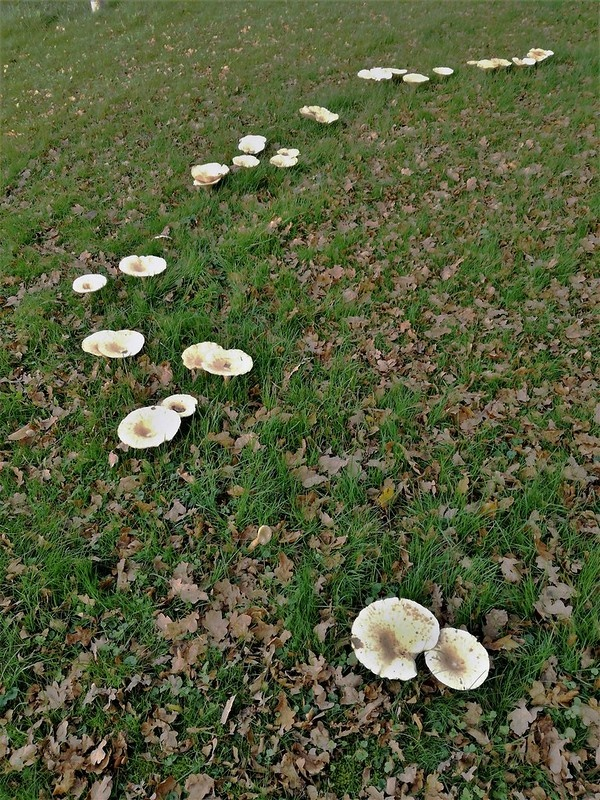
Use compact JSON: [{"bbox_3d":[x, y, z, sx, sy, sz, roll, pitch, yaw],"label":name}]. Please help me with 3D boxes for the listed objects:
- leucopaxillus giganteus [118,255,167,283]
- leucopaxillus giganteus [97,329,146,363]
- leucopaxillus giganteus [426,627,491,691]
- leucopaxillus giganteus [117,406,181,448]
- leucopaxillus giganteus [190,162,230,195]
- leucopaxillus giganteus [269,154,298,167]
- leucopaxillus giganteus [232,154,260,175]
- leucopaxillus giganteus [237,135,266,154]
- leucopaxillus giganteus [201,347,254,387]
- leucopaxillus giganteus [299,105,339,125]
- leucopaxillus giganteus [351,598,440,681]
[{"bbox_3d":[-1.309,-1.100,7.228,0.375,0.216,0.373,-10,34,-5],"label":"leucopaxillus giganteus"},{"bbox_3d":[-1.346,-0.427,6.490,0.288,0.106,0.315,-1,34,8],"label":"leucopaxillus giganteus"},{"bbox_3d":[0.896,1.484,4.964,0.358,0.124,0.332,21,59,-10],"label":"leucopaxillus giganteus"},{"bbox_3d":[-1.037,0.189,5.918,0.345,0.146,0.411,16,40,29],"label":"leucopaxillus giganteus"},{"bbox_3d":[-0.882,-2.209,8.501,0.385,0.176,0.376,-9,34,-3],"label":"leucopaxillus giganteus"},{"bbox_3d":[-0.157,-2.398,8.706,0.275,0.128,0.207,-4,34,3],"label":"leucopaxillus giganteus"},{"bbox_3d":[-0.544,-2.376,8.615,0.276,0.116,0.328,-9,34,-4],"label":"leucopaxillus giganteus"},{"bbox_3d":[-0.502,-2.632,8.874,0.234,0.089,0.223,19,51,28],"label":"leucopaxillus giganteus"},{"bbox_3d":[-0.515,-0.257,6.307,0.275,0.105,0.250,6,41,14],"label":"leucopaxillus giganteus"},{"bbox_3d":[0.199,-3.139,9.514,0.418,0.160,0.212,14,39,28],"label":"leucopaxillus giganteus"},{"bbox_3d":[0.576,1.409,5.029,0.528,0.194,0.502,-2,44,29],"label":"leucopaxillus giganteus"}]
